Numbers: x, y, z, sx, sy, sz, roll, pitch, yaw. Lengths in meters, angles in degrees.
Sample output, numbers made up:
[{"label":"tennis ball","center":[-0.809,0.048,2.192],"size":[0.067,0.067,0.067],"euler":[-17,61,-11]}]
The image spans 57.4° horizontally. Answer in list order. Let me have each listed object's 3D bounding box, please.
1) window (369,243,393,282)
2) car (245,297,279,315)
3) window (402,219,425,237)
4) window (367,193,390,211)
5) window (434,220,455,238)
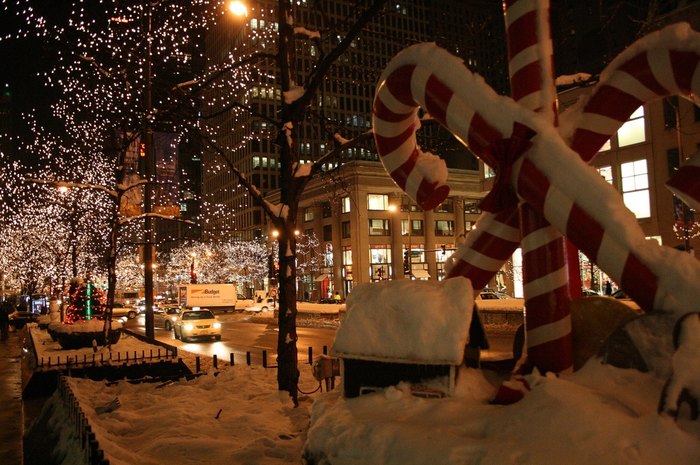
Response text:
[{"label":"window","center":[3.036,2.909,64.979],"size":[0.142,3.920,3.117],"euler":[-22,-29,40]},{"label":"car","center":[-6.950,6.341,52.406],"size":[1.782,1.563,4.303],"euler":[0,2,-20]},{"label":"window","center":[7.324,-0.675,74.732],"size":[2.180,1.576,2.421],"euler":[0,-2,12]},{"label":"window","center":[3.005,-3.522,72.227],"size":[2.817,2.123,1.577],"euler":[1,-4,-25]},{"label":"window","center":[11.376,-0.557,76.600],"size":[1.931,2.218,1.245],"euler":[1,-7,-22]}]
